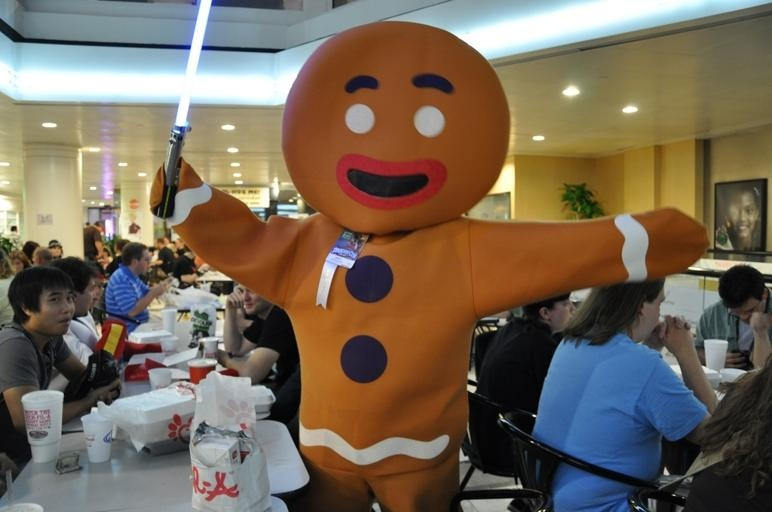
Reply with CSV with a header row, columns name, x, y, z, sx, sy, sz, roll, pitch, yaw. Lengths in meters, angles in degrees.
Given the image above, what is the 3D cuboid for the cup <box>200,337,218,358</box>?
name,x,y,z,sx,sy,sz,roll,pitch,yaw
cup,-1.132,0.584,3.578,0.087,0.146,0.127,2,6,8

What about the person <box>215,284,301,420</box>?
name,x,y,z,sx,sy,sz,roll,pitch,yaw
person,-0.801,0.523,3.472,0.538,0.902,0.543,1,8,12

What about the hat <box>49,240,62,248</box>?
name,x,y,z,sx,sy,sz,roll,pitch,yaw
hat,-4.601,-0.155,7.723,0.160,0.083,0.128,-10,-1,10

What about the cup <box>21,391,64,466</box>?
name,x,y,z,sx,sy,sz,roll,pitch,yaw
cup,-1.478,0.730,2.423,0.143,0.284,0.151,-2,3,0

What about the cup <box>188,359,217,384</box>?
name,x,y,z,sx,sy,sz,roll,pitch,yaw
cup,-0.940,0.570,2.856,0.129,0.136,0.132,2,5,0

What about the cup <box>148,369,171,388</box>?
name,x,y,z,sx,sy,sz,roll,pitch,yaw
cup,-1.254,0.657,3.075,0.111,0.096,0.101,-1,-1,0

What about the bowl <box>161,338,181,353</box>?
name,x,y,z,sx,sy,sz,roll,pitch,yaw
bowl,-1.514,0.616,3.944,0.099,0.096,0.084,4,8,4

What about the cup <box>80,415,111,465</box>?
name,x,y,z,sx,sy,sz,roll,pitch,yaw
cup,-1.228,0.771,2.400,0.110,0.202,0.093,-2,3,-12
